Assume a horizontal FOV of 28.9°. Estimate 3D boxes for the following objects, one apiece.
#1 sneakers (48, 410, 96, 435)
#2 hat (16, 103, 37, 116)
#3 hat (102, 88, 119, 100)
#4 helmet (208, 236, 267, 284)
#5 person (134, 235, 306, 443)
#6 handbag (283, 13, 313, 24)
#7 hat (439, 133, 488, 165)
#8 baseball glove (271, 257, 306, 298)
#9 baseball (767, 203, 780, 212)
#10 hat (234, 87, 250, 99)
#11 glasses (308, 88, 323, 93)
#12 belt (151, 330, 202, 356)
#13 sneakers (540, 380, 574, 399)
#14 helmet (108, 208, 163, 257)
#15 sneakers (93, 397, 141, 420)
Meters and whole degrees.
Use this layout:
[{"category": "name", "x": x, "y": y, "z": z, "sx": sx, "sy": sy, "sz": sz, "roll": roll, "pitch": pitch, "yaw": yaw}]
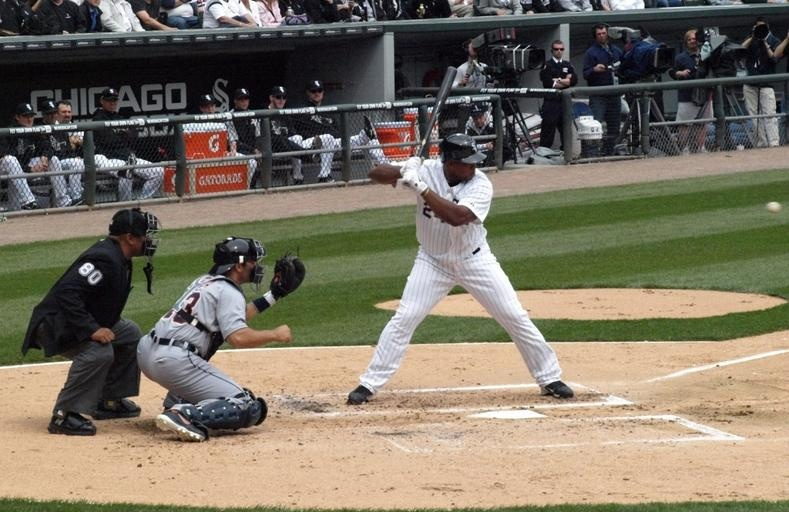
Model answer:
[{"category": "sneakers", "x": -3.567, "y": 1.874, "z": 17.195, "sx": 0.523, "sy": 0.215, "sz": 0.245, "roll": -1, "pitch": 6, "yaw": 4}, {"category": "hat", "x": -6.126, "y": -2.459, "z": 25.360, "sx": 0.232, "sy": 0.145, "sz": 0.316, "roll": -3, "pitch": -2, "yaw": -43}, {"category": "hat", "x": -4.859, "y": -2.824, "z": 26.253, "sx": 0.286, "sy": 0.191, "sz": 0.369, "roll": -2, "pitch": 0, "yaw": -29}, {"category": "helmet", "x": -1.789, "y": 0.027, "z": 17.478, "sx": 0.648, "sy": 0.473, "sz": 0.500, "roll": -9, "pitch": 12, "yaw": -21}, {"category": "person", "x": -2.075, "y": 0.934, "z": 17.115, "sx": 1.499, "sy": 2.204, "sz": 0.628, "roll": -5, "pitch": 7, "yaw": -7}, {"category": "handbag", "x": -1.843, "y": -4.579, "z": 29.444, "sx": 0.482, "sy": 0.245, "sz": 0.509, "roll": -4, "pitch": 6, "yaw": 2}, {"category": "hat", "x": 0.798, "y": -1.261, "z": 17.724, "sx": 0.479, "sy": 0.208, "sz": 0.320, "roll": -2, "pitch": 20, "yaw": 6}, {"category": "baseball glove", "x": -1.234, "y": 0.237, "z": 17.389, "sx": 0.257, "sy": 0.471, "sz": 0.366, "roll": 22, "pitch": 17, "yaw": -33}, {"category": "baseball", "x": 5.800, "y": -0.753, "z": 23.396, "sx": 0.168, "sy": 0.106, "sz": 0.152, "roll": 8, "pitch": 5, "yaw": 1}, {"category": "hat", "x": -2.734, "y": -2.942, "z": 27.643, "sx": 0.290, "sy": 0.172, "sz": 0.367, "roll": -3, "pitch": 6, "yaw": -21}, {"category": "glasses", "x": -1.386, "y": -3.022, "z": 27.863, "sx": 0.257, "sy": 0.084, "sz": 0.134, "roll": -8, "pitch": 7, "yaw": -35}, {"category": "belt", "x": -2.451, "y": 0.977, "z": 17.202, "sx": 0.353, "sy": 0.104, "sz": 0.308, "roll": 25, "pitch": -5, "yaw": -24}, {"category": "sneakers", "x": 1.917, "y": 1.567, "z": 17.927, "sx": 0.380, "sy": 0.145, "sz": 0.193, "roll": -1, "pitch": 5, "yaw": 36}, {"category": "helmet", "x": -2.907, "y": -0.330, "z": 17.583, "sx": 0.664, "sy": 0.503, "sz": 0.471, "roll": -6, "pitch": 11, "yaw": -15}, {"category": "sneakers", "x": -3.177, "y": 1.757, "z": 17.678, "sx": 0.505, "sy": 0.263, "sz": 0.227, "roll": -3, "pitch": 9, "yaw": -14}]
